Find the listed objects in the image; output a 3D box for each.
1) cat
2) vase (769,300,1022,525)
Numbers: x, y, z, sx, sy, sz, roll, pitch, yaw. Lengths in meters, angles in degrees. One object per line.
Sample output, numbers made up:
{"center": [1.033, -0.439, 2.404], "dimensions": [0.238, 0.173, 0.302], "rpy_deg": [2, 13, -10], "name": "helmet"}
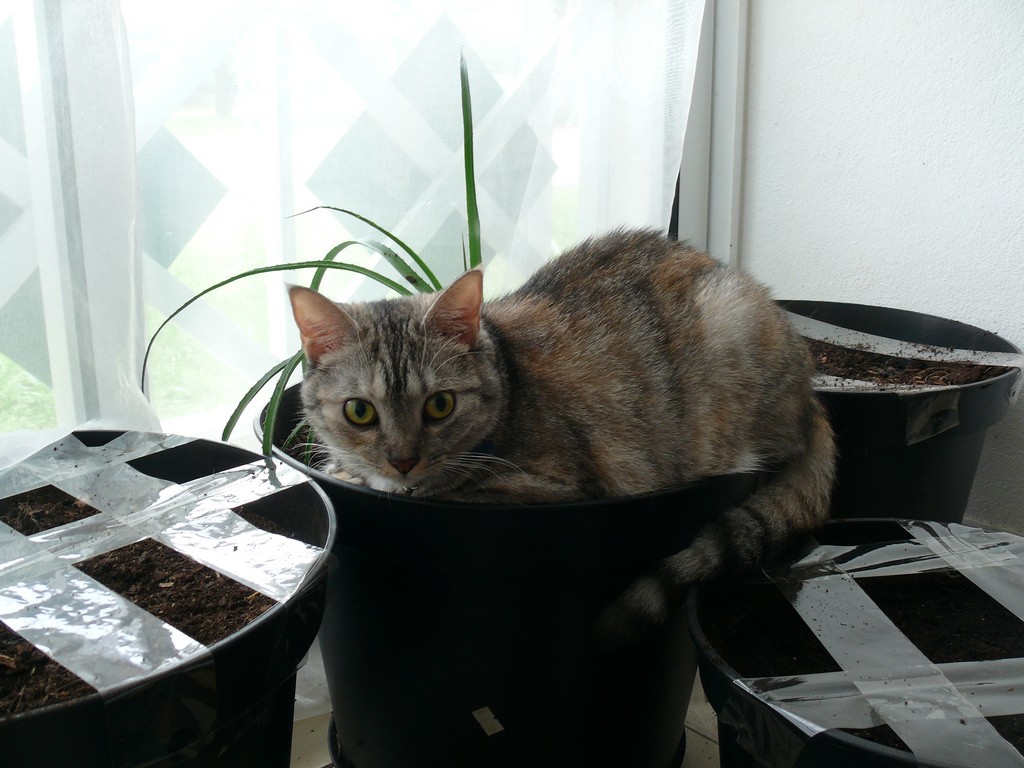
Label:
{"center": [0.138, 0.022, 1.283], "dimensions": [0.728, 0.359, 0.576], "rpy_deg": [-22, 28, -29], "name": "cat"}
{"center": [0.723, -0.005, 1.611], "dimensions": [0.432, 0.363, 0.423], "rpy_deg": [8, 15, 36], "name": "vase"}
